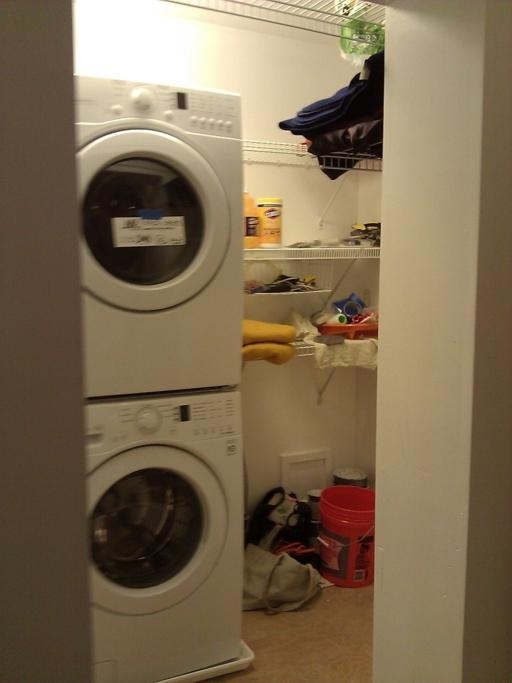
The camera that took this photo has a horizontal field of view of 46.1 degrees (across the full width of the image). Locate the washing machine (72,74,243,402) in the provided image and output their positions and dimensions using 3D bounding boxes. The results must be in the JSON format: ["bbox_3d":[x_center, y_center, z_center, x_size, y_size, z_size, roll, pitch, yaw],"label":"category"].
[{"bbox_3d":[-0.291,-0.240,1.484,0.426,0.699,0.394,-3,7,-26],"label":"washing machine"}]

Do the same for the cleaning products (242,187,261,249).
[{"bbox_3d":[-0.014,-0.386,1.936,0.059,0.181,0.031,-2,3,-37],"label":"cleaning products"}]

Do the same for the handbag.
[{"bbox_3d":[0.077,0.697,1.979,0.088,0.237,0.245,1,-3,28],"label":"handbag"}]

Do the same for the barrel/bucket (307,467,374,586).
[{"bbox_3d":[0.364,0.639,2.121,0.280,0.259,0.262,-1,6,0],"label":"barrel/bucket"}]
